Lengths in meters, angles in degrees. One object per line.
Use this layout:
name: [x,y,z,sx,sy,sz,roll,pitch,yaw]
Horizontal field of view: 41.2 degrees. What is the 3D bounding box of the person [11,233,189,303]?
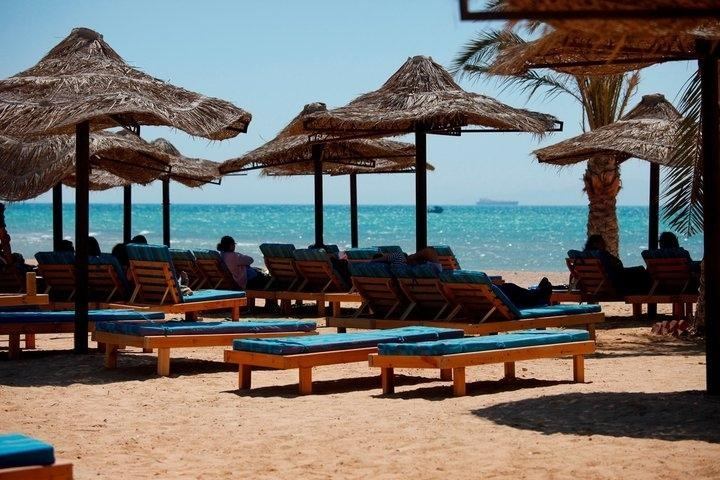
person: [-3.841,0.452,13.861,1.377,0.578,1.560,-1,-2,16]
